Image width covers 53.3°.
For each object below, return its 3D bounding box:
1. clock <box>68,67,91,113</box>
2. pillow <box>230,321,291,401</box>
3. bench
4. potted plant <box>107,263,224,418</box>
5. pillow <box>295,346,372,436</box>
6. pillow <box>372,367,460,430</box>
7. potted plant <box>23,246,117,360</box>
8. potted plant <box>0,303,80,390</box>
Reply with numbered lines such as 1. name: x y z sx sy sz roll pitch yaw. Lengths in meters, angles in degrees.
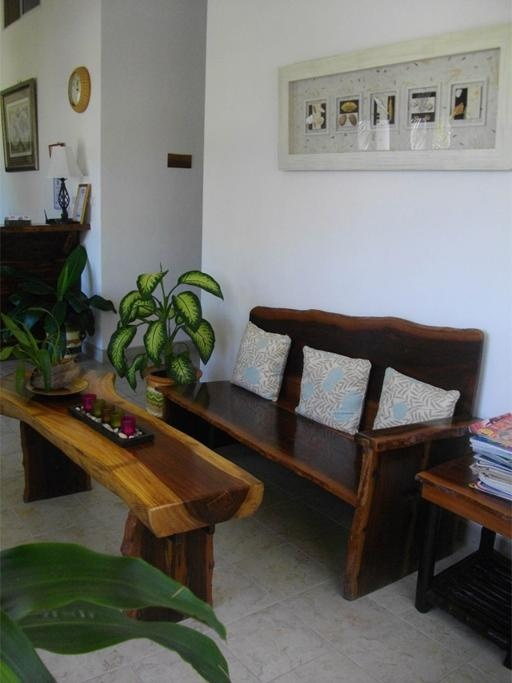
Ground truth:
1. clock: -0.984 -1.399 2.833 0.036 0.224 0.221 -9 13 -42
2. pillow: 0.030 0.084 2.018 0.261 0.239 0.132 11 -26 50
3. bench: 0.128 0.240 1.825 0.493 0.686 1.226 -4 11 -32
4. potted plant: -0.334 0.039 2.228 0.489 0.650 0.447 1 -4 -34
5. pillow: 0.268 0.171 1.703 0.224 0.198 0.113 16 -21 46
6. pillow: 0.451 0.187 1.511 0.157 0.171 0.245 1 9 -31
7. potted plant: -1.164 -0.219 3.263 0.543 0.691 0.667 4 16 13
8. potted plant: -0.856 0.003 2.018 0.302 0.305 0.310 12 17 37
